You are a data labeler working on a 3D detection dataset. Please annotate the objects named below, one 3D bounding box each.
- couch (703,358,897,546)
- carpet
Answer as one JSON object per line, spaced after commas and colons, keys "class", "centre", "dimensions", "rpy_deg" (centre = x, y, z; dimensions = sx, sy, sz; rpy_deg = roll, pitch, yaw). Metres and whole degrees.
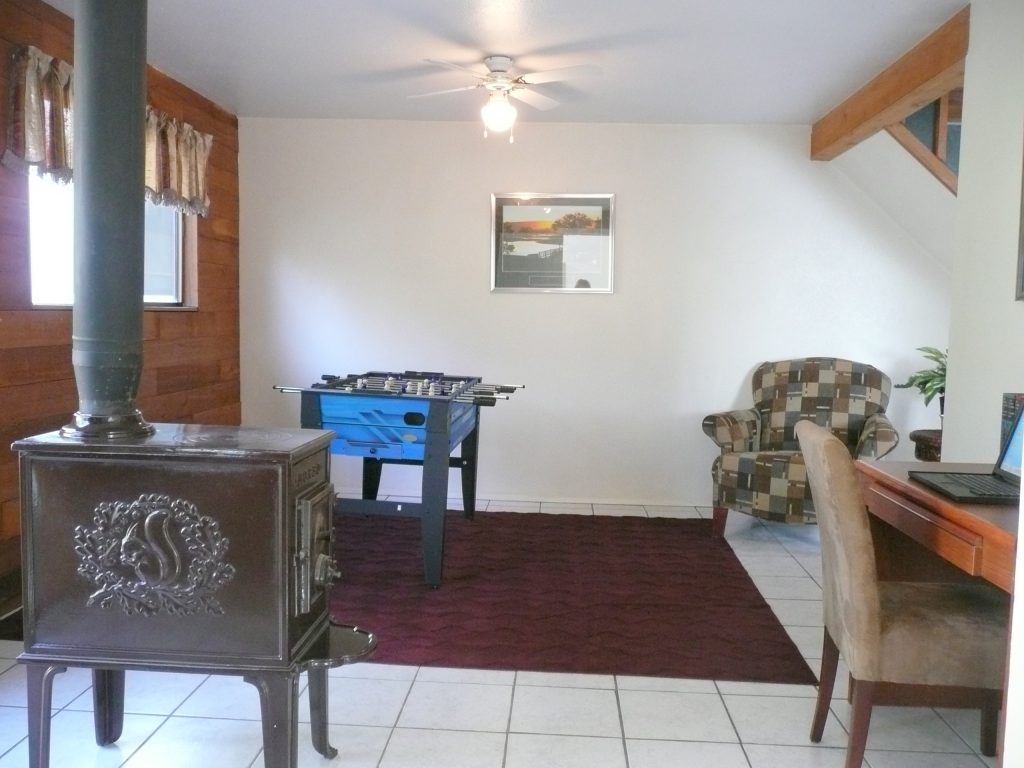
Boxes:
{"class": "couch", "centre": [1.827, 0.279, 5.305], "dimensions": [1.372, 1.381, 1.184], "rpy_deg": [0, -2, 36]}
{"class": "carpet", "centre": [0.196, 1.104, 4.375], "dimensions": [2.449, 0.080, 1.992], "rpy_deg": [1, 11, 5]}
